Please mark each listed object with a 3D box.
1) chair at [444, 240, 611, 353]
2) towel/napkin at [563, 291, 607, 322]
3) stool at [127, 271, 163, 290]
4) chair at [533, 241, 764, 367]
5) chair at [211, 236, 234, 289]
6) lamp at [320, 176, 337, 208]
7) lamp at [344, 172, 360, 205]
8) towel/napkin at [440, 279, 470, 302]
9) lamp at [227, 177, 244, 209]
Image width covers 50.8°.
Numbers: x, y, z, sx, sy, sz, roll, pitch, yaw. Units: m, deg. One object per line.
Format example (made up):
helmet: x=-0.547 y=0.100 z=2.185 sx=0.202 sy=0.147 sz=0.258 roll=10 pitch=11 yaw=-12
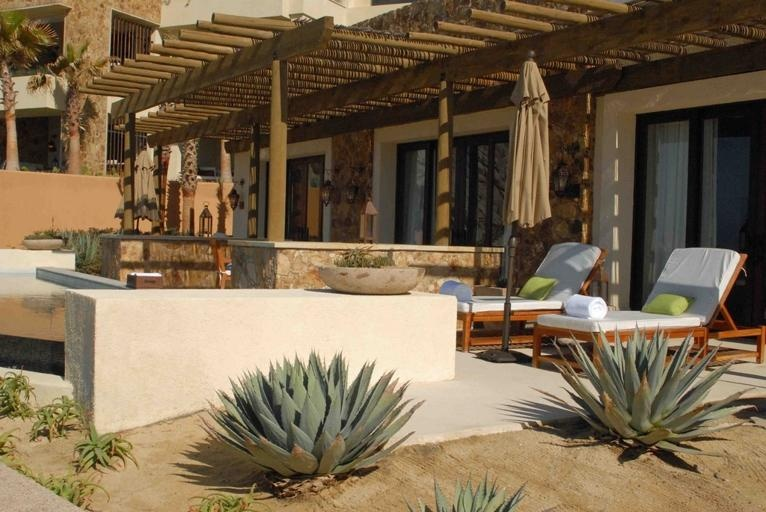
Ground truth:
chair: x=1.807 y=0.487 z=10.716 sx=2.033 sy=1.427 sz=1.210 roll=1 pitch=-1 yaw=-25
towel/napkin: x=2.257 y=0.561 z=9.156 sx=0.329 sy=0.308 sz=0.475 roll=-7 pitch=5 yaw=-19
stool: x=-2.892 y=0.289 z=9.645 sx=0.545 sy=0.188 sz=0.242 roll=5 pitch=7 yaw=34
chair: x=3.129 y=0.594 z=9.673 sx=2.588 sy=1.679 sz=1.374 roll=3 pitch=-3 yaw=-26
chair: x=-2.888 y=0.086 z=14.373 sx=0.323 sy=0.846 sz=2.202 roll=0 pitch=6 yaw=-12
lamp: x=-1.101 y=-1.406 z=17.055 sx=0.418 sy=0.846 sz=0.477 roll=-1 pitch=4 yaw=-13
lamp: x=-0.634 y=-1.407 z=16.314 sx=0.183 sy=0.650 sz=0.356 roll=-3 pitch=7 yaw=-34
towel/napkin: x=0.923 y=0.417 z=10.171 sx=0.233 sy=0.236 sz=0.332 roll=4 pitch=-1 yaw=-14
lamp: x=-3.738 y=-1.593 z=20.608 sx=0.378 sy=0.780 sz=0.594 roll=0 pitch=6 yaw=-11
